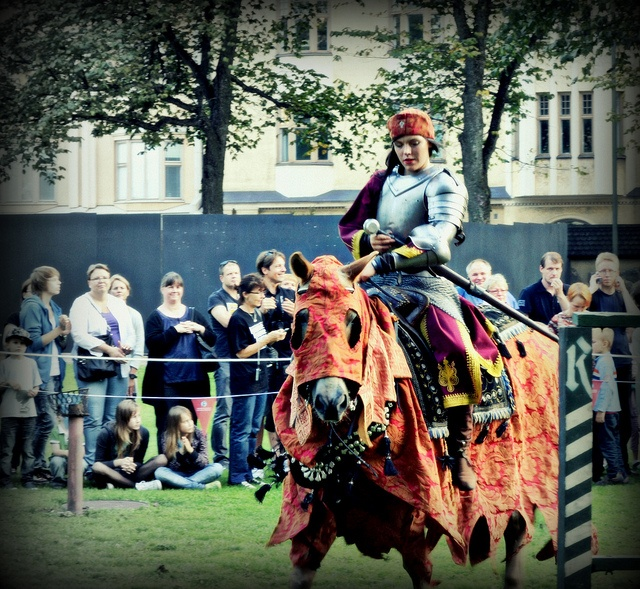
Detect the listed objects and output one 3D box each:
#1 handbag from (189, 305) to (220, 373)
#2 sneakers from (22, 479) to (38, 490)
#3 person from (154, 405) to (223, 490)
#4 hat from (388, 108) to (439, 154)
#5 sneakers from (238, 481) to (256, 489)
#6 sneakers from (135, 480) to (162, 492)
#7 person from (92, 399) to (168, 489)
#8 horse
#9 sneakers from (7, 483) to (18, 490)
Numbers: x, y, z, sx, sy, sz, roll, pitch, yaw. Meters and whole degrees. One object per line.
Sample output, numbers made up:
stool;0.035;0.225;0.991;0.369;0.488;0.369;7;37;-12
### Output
handbag;-1.545;0.621;20.207;0.234;0.736;0.456;-30;-3;-22
sneakers;-3.724;2.434;19.501;0.108;0.069;0.154;7;5;-28
person;-1.763;2.001;19.774;0.921;0.959;0.970;-9;14;-35
hat;1.073;-1.865;16.800;0.590;0.290;0.436;9;-10;-24
sneakers;-0.944;2.467;19.769;0.213;0.074;0.081;0;9;40
sneakers;-2.190;2.451;19.599;0.360;0.104;0.140;-2;-15;4
person;-2.483;1.937;19.750;0.934;1.134;0.407;0;-1;-5
horse;0.506;1.365;16.199;1.817;3.618;0.946;0;-1;-26
sneakers;-3.914;2.432;19.370;0.106;0.077;0.143;-1;-1;33
